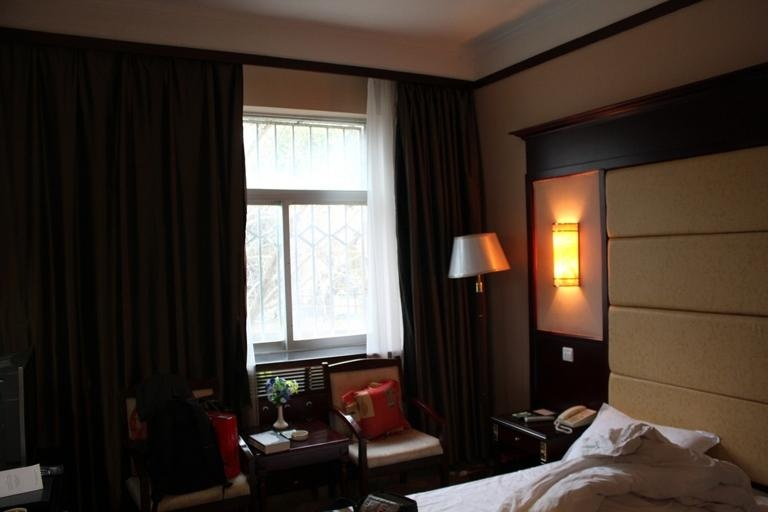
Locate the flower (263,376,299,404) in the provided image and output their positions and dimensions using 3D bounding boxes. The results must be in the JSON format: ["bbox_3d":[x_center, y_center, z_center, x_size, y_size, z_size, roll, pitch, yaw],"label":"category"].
[{"bbox_3d":[-0.851,1.093,4.610,0.225,0.198,0.250,0,-5,-7],"label":"flower"}]

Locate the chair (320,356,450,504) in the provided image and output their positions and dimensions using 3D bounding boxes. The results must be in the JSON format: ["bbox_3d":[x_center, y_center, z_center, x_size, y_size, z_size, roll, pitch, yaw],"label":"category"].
[{"bbox_3d":[-0.047,1.474,4.912,1.018,1.502,1.086,-2,-5,-26],"label":"chair"}]

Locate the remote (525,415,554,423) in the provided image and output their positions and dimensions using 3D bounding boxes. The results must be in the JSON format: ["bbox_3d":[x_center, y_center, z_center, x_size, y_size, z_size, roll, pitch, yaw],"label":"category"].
[{"bbox_3d":[1.271,1.327,4.485,0.183,0.044,0.040,1,-15,-1],"label":"remote"}]

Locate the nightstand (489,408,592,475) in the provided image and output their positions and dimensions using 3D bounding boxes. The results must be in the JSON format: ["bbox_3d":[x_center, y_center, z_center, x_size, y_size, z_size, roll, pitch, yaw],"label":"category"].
[{"bbox_3d":[1.268,1.473,4.582,0.503,0.661,0.649,0,-1,-25],"label":"nightstand"}]

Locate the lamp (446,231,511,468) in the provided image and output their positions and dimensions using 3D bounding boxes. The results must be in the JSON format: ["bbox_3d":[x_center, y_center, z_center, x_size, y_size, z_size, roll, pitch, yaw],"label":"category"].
[{"bbox_3d":[0.909,0.841,5.154,0.549,2.090,0.759,-2,2,12],"label":"lamp"}]

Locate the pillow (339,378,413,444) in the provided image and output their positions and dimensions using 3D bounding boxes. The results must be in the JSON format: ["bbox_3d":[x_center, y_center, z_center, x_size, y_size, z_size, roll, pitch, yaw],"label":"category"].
[{"bbox_3d":[-0.096,1.329,4.715,0.410,0.370,0.159,-3,-26,-31],"label":"pillow"}]

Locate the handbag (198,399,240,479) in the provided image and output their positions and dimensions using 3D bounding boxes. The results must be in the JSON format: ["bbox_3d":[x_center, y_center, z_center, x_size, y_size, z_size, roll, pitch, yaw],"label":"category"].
[{"bbox_3d":[-1.231,1.368,4.084,0.155,0.420,0.461,-7,10,-43],"label":"handbag"}]

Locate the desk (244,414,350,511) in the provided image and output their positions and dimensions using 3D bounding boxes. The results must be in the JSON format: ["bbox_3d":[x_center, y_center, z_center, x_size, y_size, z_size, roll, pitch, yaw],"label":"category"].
[{"bbox_3d":[-0.703,1.493,4.462,0.656,0.704,0.706,-1,1,-18],"label":"desk"}]

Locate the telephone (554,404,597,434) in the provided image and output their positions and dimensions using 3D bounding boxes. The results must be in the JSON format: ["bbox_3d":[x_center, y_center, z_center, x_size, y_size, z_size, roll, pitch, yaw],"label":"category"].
[{"bbox_3d":[1.503,1.276,4.346,0.273,0.102,0.172,-16,15,-22],"label":"telephone"}]

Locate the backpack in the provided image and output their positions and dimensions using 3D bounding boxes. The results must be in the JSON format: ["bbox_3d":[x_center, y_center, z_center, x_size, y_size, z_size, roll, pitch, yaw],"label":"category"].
[{"bbox_3d":[-1.527,1.255,4.096,0.562,0.978,0.362,-10,-7,-18],"label":"backpack"}]
